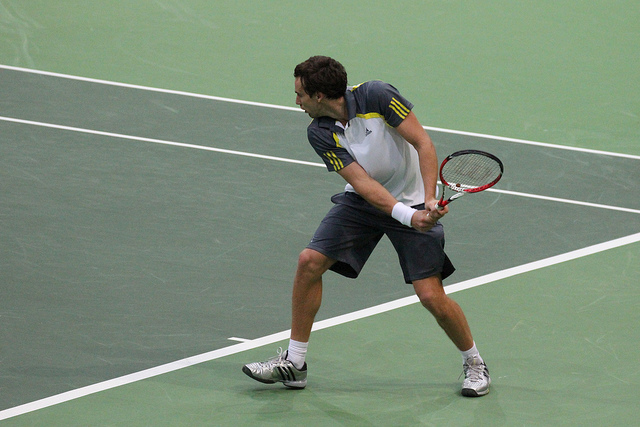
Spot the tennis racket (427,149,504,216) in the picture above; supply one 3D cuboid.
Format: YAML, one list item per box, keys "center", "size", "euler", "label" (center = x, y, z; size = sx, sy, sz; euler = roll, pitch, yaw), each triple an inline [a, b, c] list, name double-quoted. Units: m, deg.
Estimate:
- center: [1.221, -0.269, 6.008]
  size: [0.473, 0.497, 0.710]
  euler: [10, 24, 19]
  label: "tennis racket"

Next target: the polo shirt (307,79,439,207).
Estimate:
- center: [0.446, -0.543, 6.191]
  size: [0.953, 0.921, 0.580]
  euler: [-16, -1, 14]
  label: "polo shirt"
